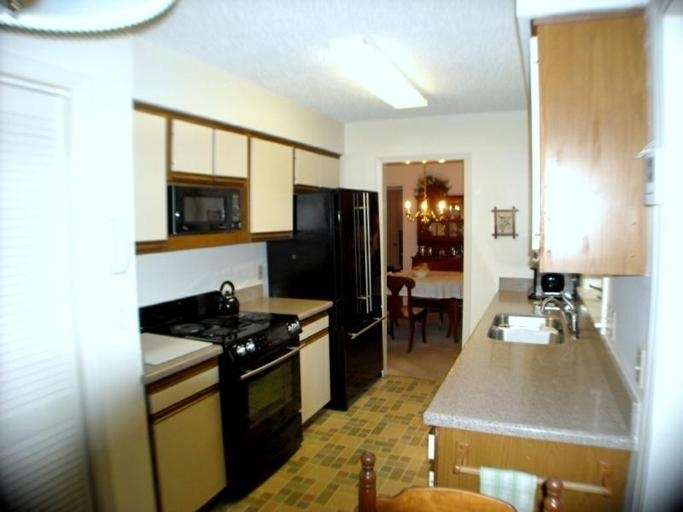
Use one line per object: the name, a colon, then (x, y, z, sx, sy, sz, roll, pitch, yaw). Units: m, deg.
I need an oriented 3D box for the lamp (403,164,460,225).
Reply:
lamp: (1.454, -0.974, 7.958, 0.928, 0.909, 0.308, 6, 9, 40)

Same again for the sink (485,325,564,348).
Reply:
sink: (1.138, 0.491, 3.146, 0.405, 0.116, 0.267, 4, 9, 22)

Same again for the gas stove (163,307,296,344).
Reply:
gas stove: (-0.638, 0.419, 3.046, 0.299, 0.123, 0.339, 1, 5, 20)

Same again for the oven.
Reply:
oven: (-0.475, 0.832, 3.024, 0.282, 0.842, 0.669, 2, 8, 14)

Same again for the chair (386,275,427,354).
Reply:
chair: (0.742, 0.567, 5.795, 0.444, 0.834, 1.244, 1, 8, 5)

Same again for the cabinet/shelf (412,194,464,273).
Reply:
cabinet/shelf: (1.494, -0.378, 7.924, 0.767, 1.133, 0.570, 2, 8, 10)
